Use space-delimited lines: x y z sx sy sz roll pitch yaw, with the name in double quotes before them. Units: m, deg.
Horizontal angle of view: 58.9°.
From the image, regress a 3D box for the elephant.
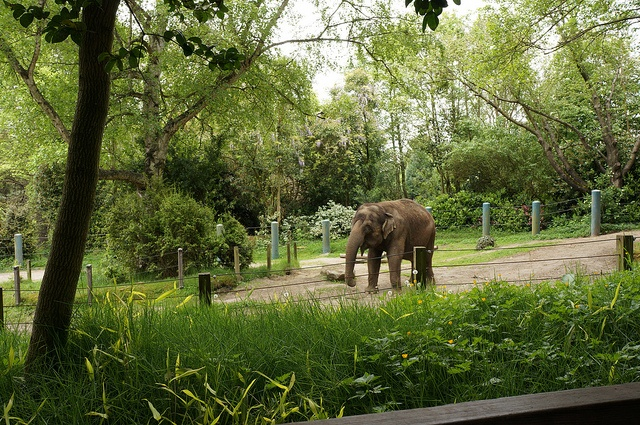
"elephant" 1.874 0.878 14.880 3.049 2.436 1.381 -1 5 -36
